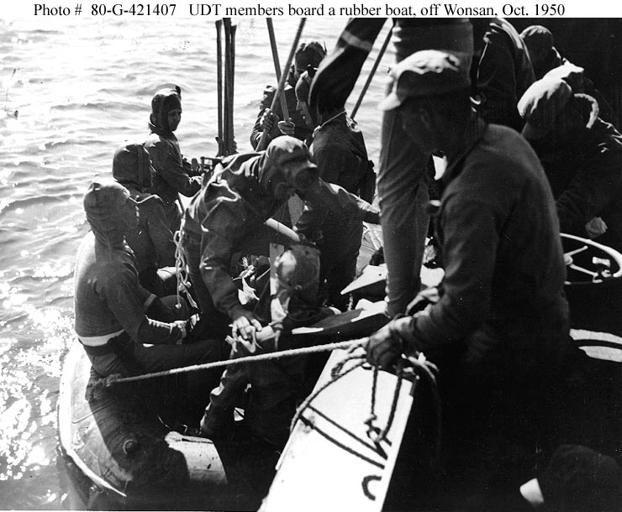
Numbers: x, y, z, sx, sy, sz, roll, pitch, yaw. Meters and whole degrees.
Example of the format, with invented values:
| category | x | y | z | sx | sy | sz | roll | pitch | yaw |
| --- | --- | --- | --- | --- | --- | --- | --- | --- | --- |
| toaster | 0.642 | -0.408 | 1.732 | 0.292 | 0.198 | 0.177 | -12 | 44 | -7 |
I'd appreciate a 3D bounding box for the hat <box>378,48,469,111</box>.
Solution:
| category | x | y | z | sx | sy | sz | roll | pitch | yaw |
| --- | --- | --- | --- | --- | --- | --- | --- | --- | --- |
| hat | 0.464 | -0.724 | 3.289 | 0.367 | 0.232 | 0.167 | 1 | 18 | 4 |
